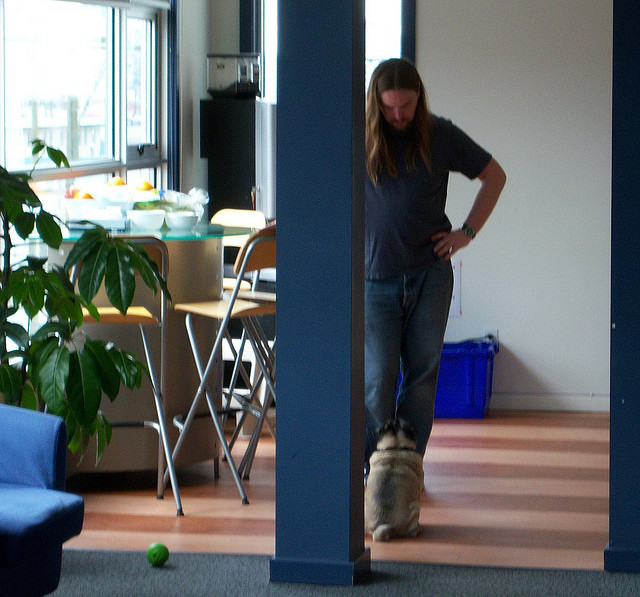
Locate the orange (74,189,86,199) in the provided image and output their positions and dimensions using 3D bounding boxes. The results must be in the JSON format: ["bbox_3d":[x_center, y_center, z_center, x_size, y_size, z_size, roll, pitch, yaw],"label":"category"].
[{"bbox_3d":[-1.185,-0.513,3.582,0.040,0.058,0.050,4,13,-13],"label":"orange"}]

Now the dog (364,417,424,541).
[{"bbox_3d":[0.294,0.697,2.810,0.142,0.276,0.504,2,45,4],"label":"dog"}]

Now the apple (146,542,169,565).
[{"bbox_3d":[-0.564,0.889,2.520,0.045,0.085,0.039,1,-19,-2],"label":"apple"}]

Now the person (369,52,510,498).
[{"bbox_3d":[0.440,-0.094,2.995,0.545,1.672,0.288,-2,3,-30],"label":"person"}]

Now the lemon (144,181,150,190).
[{"bbox_3d":[-0.886,-0.573,3.709,0.015,0.040,0.029,-6,29,15],"label":"lemon"}]

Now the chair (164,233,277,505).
[{"bbox_3d":[-0.489,0.299,3.325,0.382,1.158,0.490,1,-3,1],"label":"chair"}]

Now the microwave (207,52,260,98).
[{"bbox_3d":[-0.637,-1.620,5.310,0.261,0.312,0.334,0,8,0],"label":"microwave"}]

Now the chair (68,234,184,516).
[{"bbox_3d":[-0.879,0.372,3.150,0.392,1.232,0.495,-5,4,-24],"label":"chair"}]
